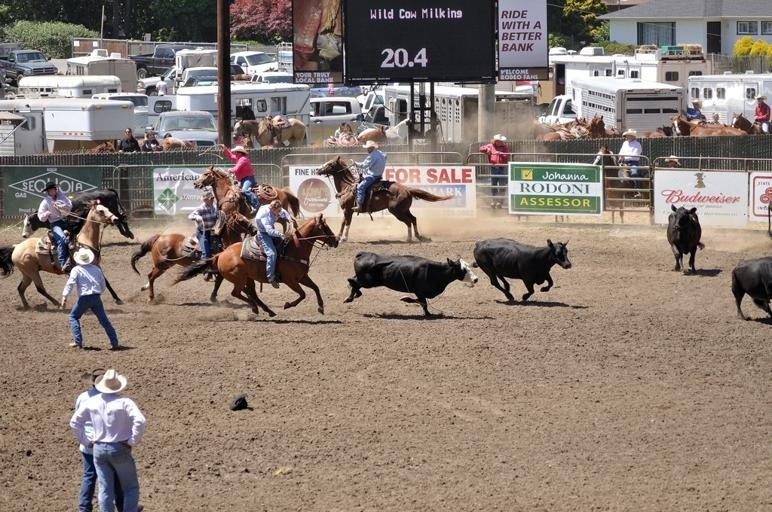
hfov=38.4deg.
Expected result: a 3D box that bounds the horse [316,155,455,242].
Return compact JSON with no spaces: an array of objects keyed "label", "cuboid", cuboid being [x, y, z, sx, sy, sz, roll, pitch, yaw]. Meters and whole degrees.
[{"label":"horse","cuboid":[-0.213,-1.467,29.500,3.598,2.221,0.909,4,3,11]}]

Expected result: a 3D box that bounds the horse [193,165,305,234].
[{"label":"horse","cuboid":[-3.355,-1.247,26.951,2.713,1.765,0.622,0,12,-23]}]

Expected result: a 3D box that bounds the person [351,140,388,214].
[{"label":"person","cuboid":[-0.441,-2.089,29.105,0.817,1.848,0.768,-1,8,-3]}]

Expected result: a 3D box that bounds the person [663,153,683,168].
[{"label":"person","cuboid":[8.377,-2.788,32.489,0.487,0.409,2.939,1,9,14]}]

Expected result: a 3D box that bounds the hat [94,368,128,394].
[{"label":"hat","cuboid":[-4.332,1.976,17.428,0.509,0.392,0.323,0,8,7]}]

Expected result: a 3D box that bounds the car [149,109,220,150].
[{"label":"car","cuboid":[-7.050,-4.580,39.617,1.445,1.250,2.405,-1,2,-17]}]

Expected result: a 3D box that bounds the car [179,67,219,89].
[{"label":"car","cuboid":[-8.316,-8.030,49.458,1.459,0.834,3.567,-2,9,-10]}]

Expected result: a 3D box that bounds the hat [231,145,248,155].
[{"label":"hat","cuboid":[-3.523,-2.554,26.733,0.266,0.214,0.506,-4,9,-19]}]

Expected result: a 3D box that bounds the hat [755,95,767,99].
[{"label":"hat","cuboid":[13.967,-5.946,41.327,0.359,0.105,0.369,2,1,24]}]

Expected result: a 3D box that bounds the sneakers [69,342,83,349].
[{"label":"sneakers","cuboid":[-6.148,1.767,21.979,0.280,0.128,0.099,15,20,16]}]

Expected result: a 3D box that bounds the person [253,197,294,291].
[{"label":"person","cuboid":[-2.443,-0.266,23.267,0.577,1.835,0.375,-1,8,-1]}]

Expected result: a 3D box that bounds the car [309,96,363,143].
[{"label":"car","cuboid":[-2.159,-5.621,45.133,2.380,1.337,1.480,1,5,-7]}]

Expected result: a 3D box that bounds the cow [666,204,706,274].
[{"label":"cow","cuboid":[7.247,-0.486,26.876,0.811,1.569,1.830,2,9,16]}]

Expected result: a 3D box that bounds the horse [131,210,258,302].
[{"label":"horse","cuboid":[-4.323,0.044,25.070,2.852,1.985,0.689,-2,7,2]}]

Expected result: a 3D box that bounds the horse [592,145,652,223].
[{"label":"horse","cuboid":[6.720,-1.885,31.553,0.802,2.273,3.211,5,9,37]}]

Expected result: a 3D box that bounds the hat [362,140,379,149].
[{"label":"hat","cuboid":[-0.392,-2.938,29.163,0.433,0.197,0.502,0,0,8]}]

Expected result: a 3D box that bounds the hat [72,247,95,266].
[{"label":"hat","cuboid":[-5.823,0.019,21.411,0.312,0.307,0.413,-2,9,-11]}]

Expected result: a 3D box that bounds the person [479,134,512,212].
[{"label":"person","cuboid":[3.179,-2.453,32.027,0.763,2.064,1.069,0,8,6]}]

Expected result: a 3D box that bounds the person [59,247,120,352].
[{"label":"person","cuboid":[-5.925,0.784,22.088,1.006,2.029,1.569,-3,9,-17]}]

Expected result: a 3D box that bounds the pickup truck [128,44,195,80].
[{"label":"pickup truck","cuboid":[-12.819,-11.107,63.026,3.359,1.587,2.122,-4,10,5]}]

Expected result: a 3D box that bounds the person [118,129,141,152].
[{"label":"person","cuboid":[-8.346,-3.778,35.996,0.580,0.660,1.274,-4,9,-20]}]
